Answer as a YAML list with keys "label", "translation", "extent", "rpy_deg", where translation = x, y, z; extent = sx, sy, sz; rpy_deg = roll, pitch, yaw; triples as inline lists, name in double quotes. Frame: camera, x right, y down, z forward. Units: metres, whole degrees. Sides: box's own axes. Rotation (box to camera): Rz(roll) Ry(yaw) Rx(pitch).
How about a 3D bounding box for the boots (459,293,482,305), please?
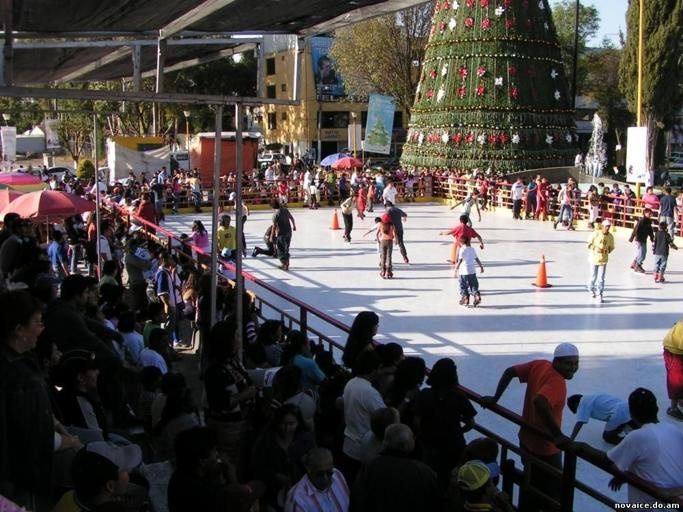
- label: "boots"
  translation: [2.855, 0.905, 15.318]
  extent: [0.481, 0.280, 0.684]
  rpy_deg: [2, 6, 11]

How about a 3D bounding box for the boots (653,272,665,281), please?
- label: "boots"
  translation: [7.956, 0.501, 17.333]
  extent: [0.232, 0.399, 0.163]
  rpy_deg: [-2, 1, 35]

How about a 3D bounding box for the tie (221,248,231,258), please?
- label: "tie"
  translation: [-2.537, -0.093, 15.211]
  extent: [0.192, 0.214, 0.570]
  rpy_deg: [0, 6, -7]

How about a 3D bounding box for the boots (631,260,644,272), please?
- label: "boots"
  translation: [7.864, 0.256, 18.486]
  extent: [0.160, 0.285, 0.466]
  rpy_deg: [-1, 5, -8]

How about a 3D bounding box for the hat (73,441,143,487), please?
- label: "hat"
  translation: [-1.726, 1.508, 5.145]
  extent: [0.368, 0.218, 0.247]
  rpy_deg: [-3, 24, -23]

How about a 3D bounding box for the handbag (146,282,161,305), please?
- label: "handbag"
  translation: [-3.131, 0.618, 11.548]
  extent: [0.259, 0.369, 0.581]
  rpy_deg: [-14, 5, -21]

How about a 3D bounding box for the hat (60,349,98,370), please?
- label: "hat"
  translation: [-2.356, 0.903, 6.157]
  extent: [0.282, 0.143, 0.335]
  rpy_deg: [-2, 7, -27]

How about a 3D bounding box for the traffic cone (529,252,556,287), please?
- label: "traffic cone"
  translation: [5.027, 0.315, 16.967]
  extent: [0.608, 1.084, 0.709]
  rpy_deg: [-1, 8, -4]

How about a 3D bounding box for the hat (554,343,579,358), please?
- label: "hat"
  translation: [2.108, 0.878, 6.501]
  extent: [0.175, 0.126, 0.177]
  rpy_deg: [-2, -3, 42]
